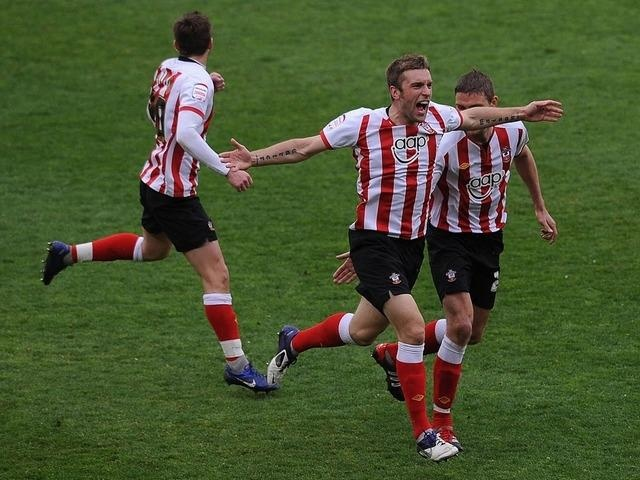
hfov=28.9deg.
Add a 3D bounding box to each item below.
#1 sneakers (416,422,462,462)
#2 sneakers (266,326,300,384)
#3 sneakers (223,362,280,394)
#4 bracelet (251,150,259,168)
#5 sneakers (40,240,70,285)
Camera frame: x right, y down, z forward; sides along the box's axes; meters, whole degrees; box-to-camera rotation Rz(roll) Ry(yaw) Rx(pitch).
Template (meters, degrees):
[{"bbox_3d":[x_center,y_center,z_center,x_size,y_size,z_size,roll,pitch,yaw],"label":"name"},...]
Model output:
[{"bbox_3d":[0.817,1.426,8.775,0.326,0.166,0.172,2,28,44],"label":"sneakers"},{"bbox_3d":[-0.298,0.885,9.552,0.225,0.484,0.169,13,-4,28],"label":"sneakers"},{"bbox_3d":[-0.544,1.055,9.590,0.476,0.251,0.168,14,5,-6],"label":"sneakers"},{"bbox_3d":[-0.471,-0.614,9.023,0.077,0.089,0.098,-2,9,-8],"label":"bracelet"},{"bbox_3d":[-2.135,0.143,10.089,0.222,0.352,0.161,16,14,-16],"label":"sneakers"}]
